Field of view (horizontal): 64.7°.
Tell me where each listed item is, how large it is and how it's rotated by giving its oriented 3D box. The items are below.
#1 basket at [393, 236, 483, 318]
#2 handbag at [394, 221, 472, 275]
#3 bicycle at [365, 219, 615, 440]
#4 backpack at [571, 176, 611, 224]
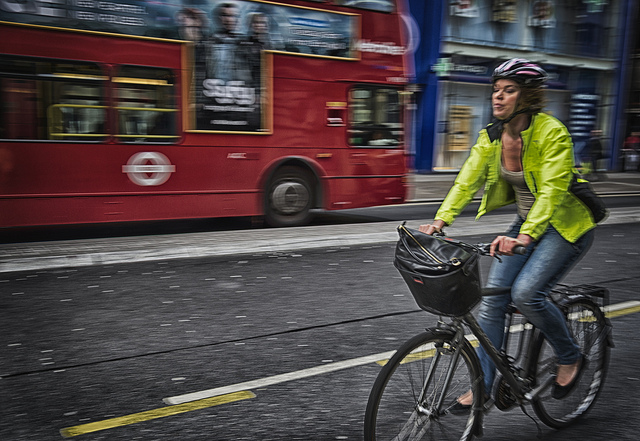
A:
[{"bbox_3d":[0.620,0.289,2.580,0.397,0.279,0.459,-31,27,-36],"label":"basket"},{"bbox_3d":[0.511,0.142,2.415,0.322,0.128,0.219,24,62,35],"label":"handbag"},{"bbox_3d":[1.001,0.694,2.926,1.742,1.407,0.565,-9,16,-41],"label":"bicycle"},{"bbox_3d":[1.601,-0.117,3.066,0.186,0.329,0.089,-47,13,-26],"label":"backpack"}]
